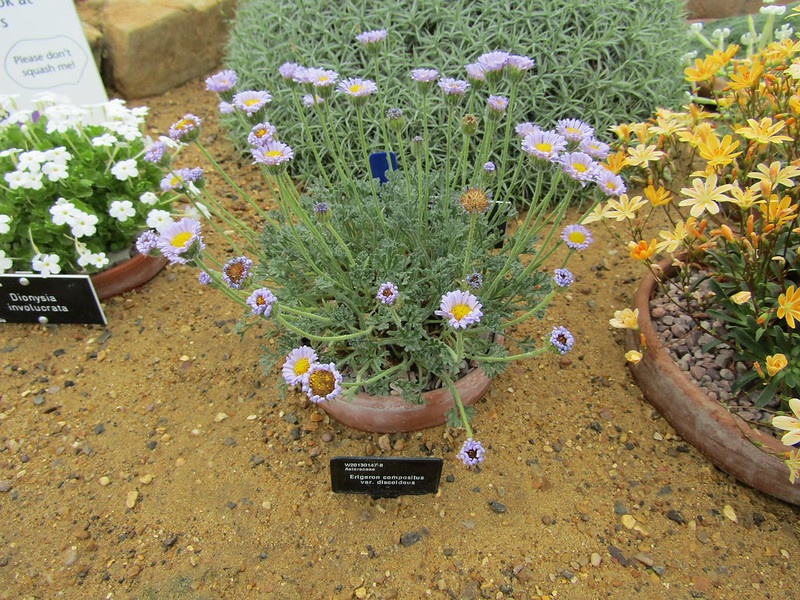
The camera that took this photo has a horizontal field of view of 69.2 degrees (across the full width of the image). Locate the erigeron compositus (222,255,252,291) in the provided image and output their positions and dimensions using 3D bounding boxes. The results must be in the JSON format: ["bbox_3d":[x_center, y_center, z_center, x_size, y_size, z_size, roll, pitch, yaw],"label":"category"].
[{"bbox_3d":[-0.621,-0.104,2.194,0.119,0.042,0.118,-29,76,-8],"label":"erigeron compositus"}]

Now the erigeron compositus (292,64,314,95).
[{"bbox_3d":[-0.403,-0.914,2.402,0.071,0.093,0.137,-11,42,-6],"label":"erigeron compositus"}]

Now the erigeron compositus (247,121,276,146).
[{"bbox_3d":[-0.542,-0.660,2.272,0.106,0.047,0.112,0,57,7],"label":"erigeron compositus"}]

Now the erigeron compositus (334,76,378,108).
[{"bbox_3d":[-0.185,-0.883,2.435,0.137,0.097,0.218,-12,42,-7],"label":"erigeron compositus"}]

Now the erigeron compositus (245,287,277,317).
[{"bbox_3d":[-0.501,0.013,2.134,0.103,0.059,0.104,-36,74,-3],"label":"erigeron compositus"}]

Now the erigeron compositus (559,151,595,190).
[{"bbox_3d":[0.678,-0.501,2.211,0.138,0.061,0.141,6,58,-5],"label":"erigeron compositus"}]

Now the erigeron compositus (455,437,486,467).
[{"bbox_3d":[0.258,0.573,2.180,0.093,0.128,0.102,-16,43,-11],"label":"erigeron compositus"}]

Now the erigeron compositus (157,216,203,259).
[{"bbox_3d":[-0.820,-0.249,2.176,0.154,0.061,0.158,-3,69,8],"label":"erigeron compositus"}]

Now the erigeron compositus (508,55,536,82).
[{"bbox_3d":[0.480,-0.938,2.336,0.095,0.097,0.093,4,43,11],"label":"erigeron compositus"}]

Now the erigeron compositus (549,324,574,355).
[{"bbox_3d":[0.604,0.134,2.183,0.080,0.085,0.147,8,44,15],"label":"erigeron compositus"}]

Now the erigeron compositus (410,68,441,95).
[{"bbox_3d":[0.100,-0.913,2.405,0.083,0.109,0.139,-12,42,-6],"label":"erigeron compositus"}]

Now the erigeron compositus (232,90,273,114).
[{"bbox_3d":[-0.587,-0.806,2.329,0.125,0.054,0.126,31,51,28],"label":"erigeron compositus"}]

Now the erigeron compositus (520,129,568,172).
[{"bbox_3d":[0.544,-0.580,2.194,0.157,0.081,0.160,0,63,7],"label":"erigeron compositus"}]

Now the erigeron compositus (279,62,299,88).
[{"bbox_3d":[-0.468,-0.950,2.461,0.098,0.089,0.103,-7,53,-7],"label":"erigeron compositus"}]

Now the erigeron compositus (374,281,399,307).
[{"bbox_3d":[-0.048,-0.021,2.131,0.070,0.067,0.070,26,51,31],"label":"erigeron compositus"}]

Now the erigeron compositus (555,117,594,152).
[{"bbox_3d":[0.684,-0.677,2.284,0.139,0.078,0.141,-1,50,-7],"label":"erigeron compositus"}]

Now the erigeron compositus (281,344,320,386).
[{"bbox_3d":[-0.366,0.230,2.096,0.131,0.052,0.132,-6,58,14],"label":"erigeron compositus"}]

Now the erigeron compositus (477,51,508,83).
[{"bbox_3d":[0.375,-0.950,2.342,0.113,0.082,0.114,-8,55,-3],"label":"erigeron compositus"}]
